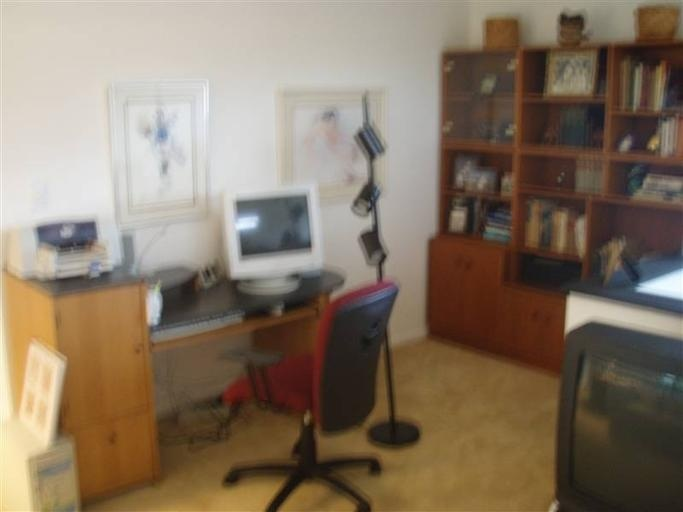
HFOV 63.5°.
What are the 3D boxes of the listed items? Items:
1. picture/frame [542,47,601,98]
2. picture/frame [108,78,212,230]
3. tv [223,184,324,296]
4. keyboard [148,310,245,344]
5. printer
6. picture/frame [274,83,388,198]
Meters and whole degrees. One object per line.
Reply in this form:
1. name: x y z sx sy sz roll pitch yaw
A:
1. picture/frame: 1.070 -0.857 2.550 0.224 0.228 0.032 10 12 38
2. picture/frame: -0.589 -0.354 1.778 0.390 0.585 0.057 -5 18 -27
3. tv: -0.261 -0.077 2.050 0.338 0.364 0.192 -7 9 -28
4. keyboard: -0.512 0.236 1.908 0.237 0.051 0.054 -16 25 -23
5. printer: -0.903 -0.027 1.799 0.190 0.170 0.263 14 20 40
6. picture/frame: -0.023 -0.395 1.914 0.384 0.435 0.022 -2 -17 2
